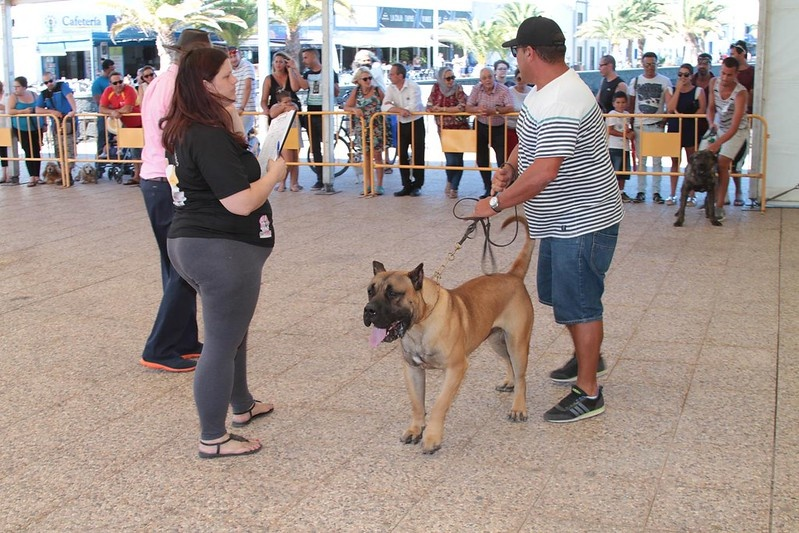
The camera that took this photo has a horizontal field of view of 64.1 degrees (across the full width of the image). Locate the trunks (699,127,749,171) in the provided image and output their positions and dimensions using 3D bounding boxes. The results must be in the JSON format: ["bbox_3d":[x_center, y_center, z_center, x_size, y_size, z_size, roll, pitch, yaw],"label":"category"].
[{"bbox_3d":[5.163,-1.833,9.983,0.640,0.187,0.573,28,67,30],"label":"trunks"}]

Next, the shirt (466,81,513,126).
[{"bbox_3d":[1.667,-2.960,11.698,0.942,0.748,0.482,6,43,11],"label":"shirt"}]

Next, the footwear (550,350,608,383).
[{"bbox_3d":[1.396,0.771,4.939,0.622,0.212,0.183,-4,10,-10],"label":"footwear"}]

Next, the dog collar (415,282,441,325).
[{"bbox_3d":[0.183,0.222,3.856,0.059,0.216,0.175,26,3,-23],"label":"dog collar"}]

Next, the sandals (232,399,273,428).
[{"bbox_3d":[-1.035,1.023,4.473,0.134,0.098,0.272,14,25,35],"label":"sandals"}]

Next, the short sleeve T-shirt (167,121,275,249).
[{"bbox_3d":[-1.112,-0.484,3.965,0.700,0.755,0.917,-9,16,-25],"label":"short sleeve T-shirt"}]

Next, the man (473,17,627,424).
[{"bbox_3d":[0.978,-0.300,4.597,1.394,2.662,1.168,-3,15,6],"label":"man"}]

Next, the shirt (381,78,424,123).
[{"bbox_3d":[0.075,-3.106,12.038,0.709,0.724,0.845,18,33,34],"label":"shirt"}]

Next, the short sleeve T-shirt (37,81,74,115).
[{"bbox_3d":[-7.639,-3.677,14.258,0.866,0.667,0.374,-17,11,6],"label":"short sleeve T-shirt"}]

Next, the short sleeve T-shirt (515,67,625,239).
[{"bbox_3d":[1.113,-0.704,4.125,0.673,1.127,0.429,-1,13,10],"label":"short sleeve T-shirt"}]

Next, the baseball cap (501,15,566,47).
[{"bbox_3d":[0.876,-1.529,4.131,0.338,0.143,0.210,12,37,18],"label":"baseball cap"}]

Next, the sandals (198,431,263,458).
[{"bbox_3d":[-1.076,1.141,4.053,0.291,0.083,0.167,-4,6,-13],"label":"sandals"}]

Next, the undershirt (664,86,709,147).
[{"bbox_3d":[4.879,-2.526,11.027,0.639,1.148,0.391,11,32,29],"label":"undershirt"}]

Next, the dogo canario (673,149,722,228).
[{"bbox_3d":[4.472,-1.178,9.498,0.650,1.084,0.891,2,14,24],"label":"dogo canario"}]

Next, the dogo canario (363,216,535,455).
[{"bbox_3d":[0.375,0.545,4.107,1.272,1.210,0.327,-12,15,-35],"label":"dogo canario"}]

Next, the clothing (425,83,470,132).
[{"bbox_3d":[0.844,-3.051,12.172,0.885,0.874,0.532,7,35,3],"label":"clothing"}]

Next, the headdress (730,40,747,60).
[{"bbox_3d":[5.752,-3.712,10.828,0.223,0.349,0.888,5,13,31],"label":"headdress"}]

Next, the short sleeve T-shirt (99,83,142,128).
[{"bbox_3d":[-6.137,-3.468,13.713,0.726,0.772,0.582,-11,44,-46],"label":"short sleeve T-shirt"}]

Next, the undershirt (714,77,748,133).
[{"bbox_3d":[5.121,-2.440,9.954,0.468,0.603,0.357,12,25,44],"label":"undershirt"}]
